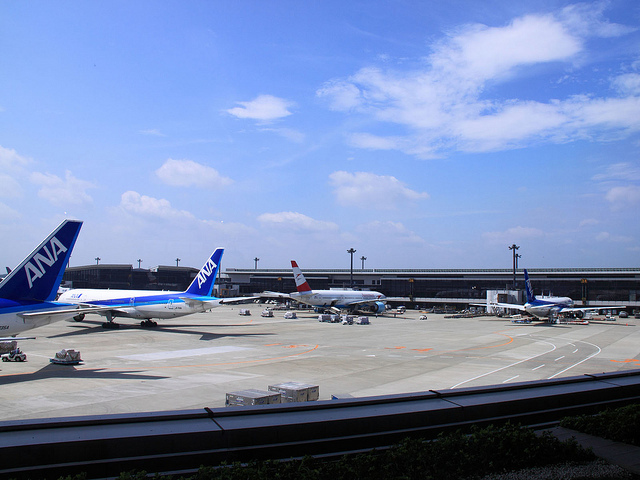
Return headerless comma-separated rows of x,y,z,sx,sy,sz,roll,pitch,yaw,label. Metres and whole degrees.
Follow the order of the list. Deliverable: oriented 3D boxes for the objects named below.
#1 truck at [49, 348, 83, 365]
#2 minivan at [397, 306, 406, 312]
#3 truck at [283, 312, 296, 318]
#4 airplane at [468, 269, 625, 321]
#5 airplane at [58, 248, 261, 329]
-17.454,7.937,39.653,1.964,0.712,1.484,-4,-5,44,truck
17.431,14.818,124.027,1.303,0.734,2.069,4,3,37,minivan
-4.881,12.236,94.586,1.938,0.576,2.324,0,-1,-1,truck
35.340,9.808,98.130,19.376,7.643,33.451,-2,-10,20,airplane
-18.454,6.592,66.251,20.218,5.303,16.734,3,1,37,airplane
